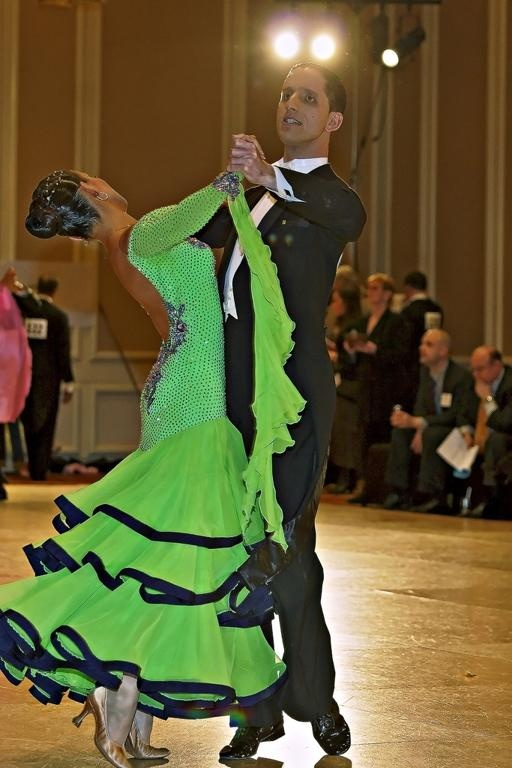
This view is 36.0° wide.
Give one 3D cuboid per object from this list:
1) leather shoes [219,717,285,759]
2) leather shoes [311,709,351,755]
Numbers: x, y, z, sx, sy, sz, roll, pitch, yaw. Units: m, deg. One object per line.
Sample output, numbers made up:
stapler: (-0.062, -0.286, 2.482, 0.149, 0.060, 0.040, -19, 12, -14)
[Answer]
leather shoes: (-0.023, 0.766, 1.756, 0.061, 0.069, 0.180, -8, -3, 45)
leather shoes: (0.154, 0.748, 1.735, 0.056, 0.112, 0.045, -28, -46, -2)
